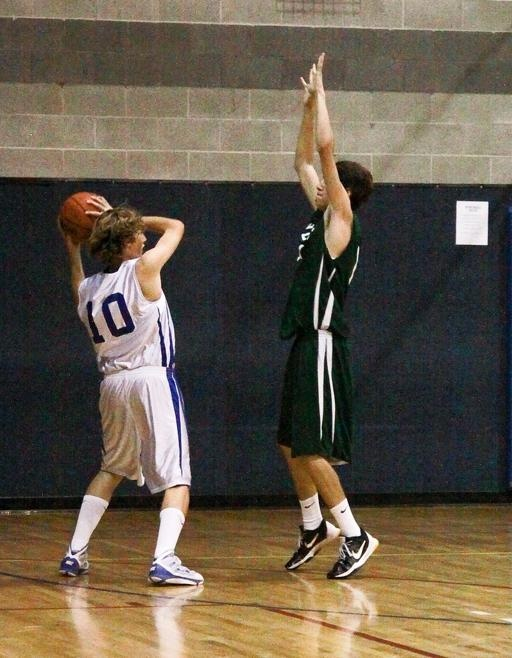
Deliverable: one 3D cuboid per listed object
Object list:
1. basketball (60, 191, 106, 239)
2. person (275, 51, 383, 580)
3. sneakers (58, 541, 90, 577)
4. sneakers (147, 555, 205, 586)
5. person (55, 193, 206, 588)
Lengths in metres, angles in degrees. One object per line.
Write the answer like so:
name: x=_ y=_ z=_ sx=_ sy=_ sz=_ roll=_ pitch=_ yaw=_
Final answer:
basketball: x=-0.679 y=-0.431 z=4.921 sx=0.151 sy=0.203 sz=0.160 roll=15 pitch=19 yaw=14
person: x=0.273 y=-0.057 z=4.897 sx=0.376 sy=1.961 sz=0.559 roll=0 pitch=1 yaw=4
sneakers: x=-0.688 y=0.863 z=4.733 sx=0.058 sy=0.077 sz=0.160 roll=4 pitch=-6 yaw=0
sneakers: x=-0.299 y=0.863 z=4.587 sx=0.233 sy=0.131 sz=0.087 roll=8 pitch=-7 yaw=-24
person: x=-0.439 y=0.235 z=4.678 sx=0.547 sy=1.364 sz=0.303 roll=1 pitch=1 yaw=34
